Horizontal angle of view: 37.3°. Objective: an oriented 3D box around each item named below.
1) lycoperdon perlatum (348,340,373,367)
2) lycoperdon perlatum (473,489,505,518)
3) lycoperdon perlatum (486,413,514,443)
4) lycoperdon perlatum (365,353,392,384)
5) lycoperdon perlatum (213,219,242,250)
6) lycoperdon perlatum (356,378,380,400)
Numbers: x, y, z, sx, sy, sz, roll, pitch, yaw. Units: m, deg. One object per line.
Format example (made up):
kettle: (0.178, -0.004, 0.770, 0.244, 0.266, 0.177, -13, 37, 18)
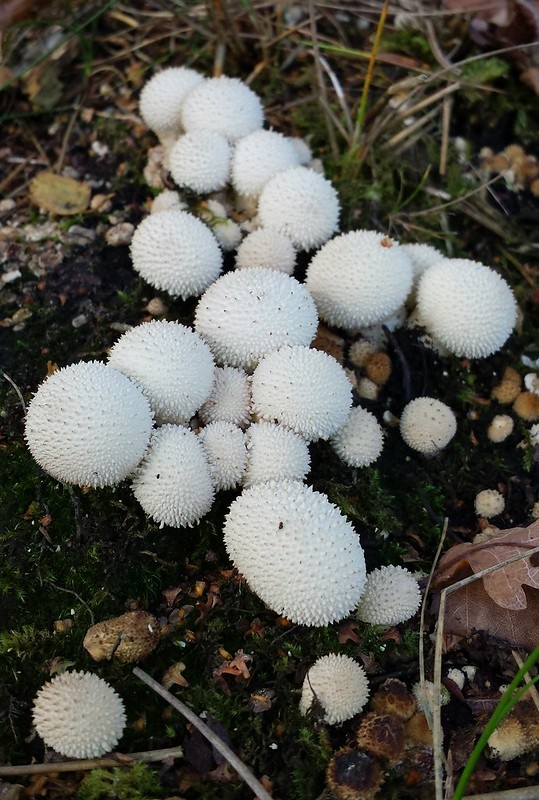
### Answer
lycoperdon perlatum: (0.576, -0.303, 5.125, 0.163, 0.162, 0.152, -4, 91, 6)
lycoperdon perlatum: (1.333, 0.631, 4.872, 0.181, 0.116, 0.157, -24, 59, -14)
lycoperdon perlatum: (1.452, 0.181, 5.025, 0.144, 0.112, 0.177, 22, 60, 16)
lycoperdon perlatum: (0.681, -0.196, 5.033, 0.161, 0.162, 0.185, 19, 59, 13)
lycoperdon perlatum: (-0.267, -1.046, 5.060, 0.187, 0.149, 0.170, 6, 99, -6)
lycoperdon perlatum: (0.613, -0.069, 5.003, 0.136, 0.130, 0.137, -5, 76, 3)
